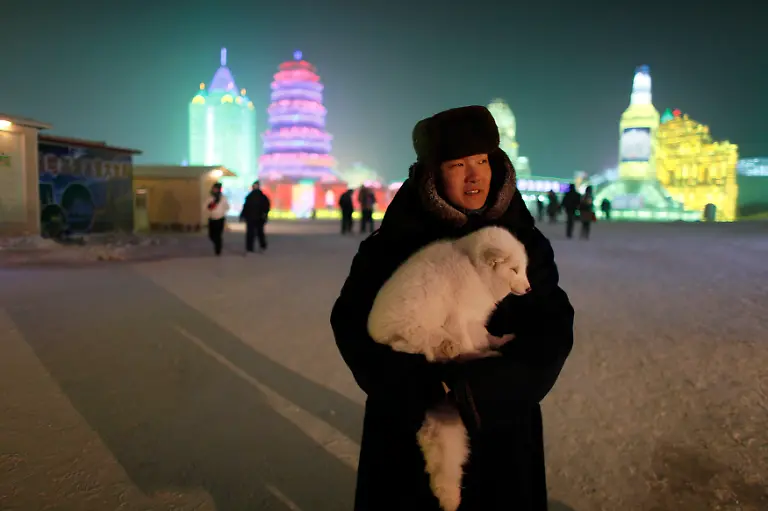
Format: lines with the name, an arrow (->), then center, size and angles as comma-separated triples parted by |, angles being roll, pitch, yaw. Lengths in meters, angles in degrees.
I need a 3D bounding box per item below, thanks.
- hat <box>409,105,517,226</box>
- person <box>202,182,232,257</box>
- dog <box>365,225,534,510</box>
hat -> 0.578, -0.627, 4.709 | 0.689, 1.039, 0.696 | -12, -2, -22
person -> -4.113, -0.882, 15.564 | 0.534, 1.802, 0.735 | -2, 8, -15
dog -> 0.443, 0.738, 4.643 | 0.848, 2.180, 0.995 | 17, -12, -34
